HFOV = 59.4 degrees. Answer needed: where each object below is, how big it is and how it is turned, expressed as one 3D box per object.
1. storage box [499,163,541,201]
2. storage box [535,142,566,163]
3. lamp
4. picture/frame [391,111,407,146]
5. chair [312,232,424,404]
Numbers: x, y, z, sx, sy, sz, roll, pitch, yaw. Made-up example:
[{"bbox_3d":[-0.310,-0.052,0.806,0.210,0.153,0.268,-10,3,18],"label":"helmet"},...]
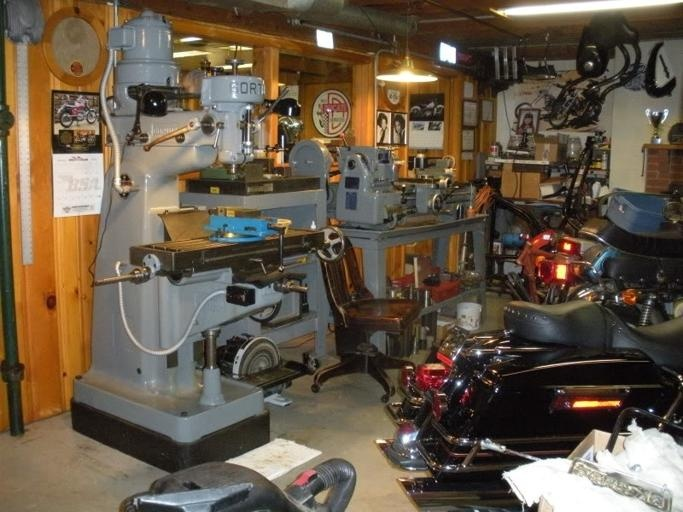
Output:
[{"bbox_3d":[2.280,-0.965,8.165,0.553,0.372,0.523,-2,-3,-42],"label":"storage box"},{"bbox_3d":[2.741,-1.338,7.908,0.326,0.180,0.316,1,6,8],"label":"storage box"},{"bbox_3d":[0.627,-1.953,5.703,0.505,0.499,0.503,16,34,35],"label":"lamp"},{"bbox_3d":[0.689,-1.563,7.327,0.060,0.343,0.432,6,20,27],"label":"picture/frame"},{"bbox_3d":[0.195,0.419,4.578,0.861,1.058,0.837,8,11,41],"label":"chair"}]
